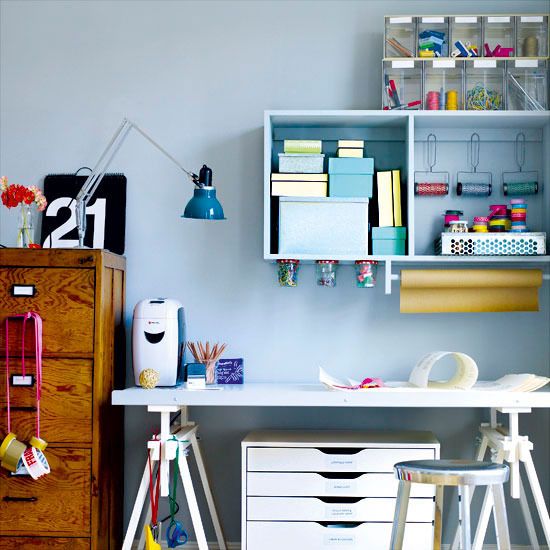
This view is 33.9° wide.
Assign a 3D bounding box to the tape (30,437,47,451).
[{"bbox_3d":[-0.961,0.682,3.655,0.051,0.044,0.057,18,15,0],"label":"tape"}]

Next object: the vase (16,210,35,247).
[{"bbox_3d":[-1.074,-0.211,3.872,0.063,0.179,0.081,-1,2,-18],"label":"vase"}]

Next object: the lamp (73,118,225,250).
[{"bbox_3d":[-0.575,-0.427,4.004,0.663,0.589,0.512,-1,2,-9],"label":"lamp"}]

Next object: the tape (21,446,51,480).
[{"bbox_3d":[-0.971,0.752,3.637,0.103,0.126,0.044,0,2,8],"label":"tape"}]

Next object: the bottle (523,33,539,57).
[{"bbox_3d":[1.106,-0.985,3.921,0.070,0.144,0.076,2,-5,0],"label":"bottle"}]

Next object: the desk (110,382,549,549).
[{"bbox_3d":[0.257,0.777,3.772,1.753,0.639,0.376,-1,2,4],"label":"desk"}]

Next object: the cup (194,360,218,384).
[{"bbox_3d":[-0.303,0.412,3.854,0.089,0.124,0.099,0,-1,2],"label":"cup"}]
